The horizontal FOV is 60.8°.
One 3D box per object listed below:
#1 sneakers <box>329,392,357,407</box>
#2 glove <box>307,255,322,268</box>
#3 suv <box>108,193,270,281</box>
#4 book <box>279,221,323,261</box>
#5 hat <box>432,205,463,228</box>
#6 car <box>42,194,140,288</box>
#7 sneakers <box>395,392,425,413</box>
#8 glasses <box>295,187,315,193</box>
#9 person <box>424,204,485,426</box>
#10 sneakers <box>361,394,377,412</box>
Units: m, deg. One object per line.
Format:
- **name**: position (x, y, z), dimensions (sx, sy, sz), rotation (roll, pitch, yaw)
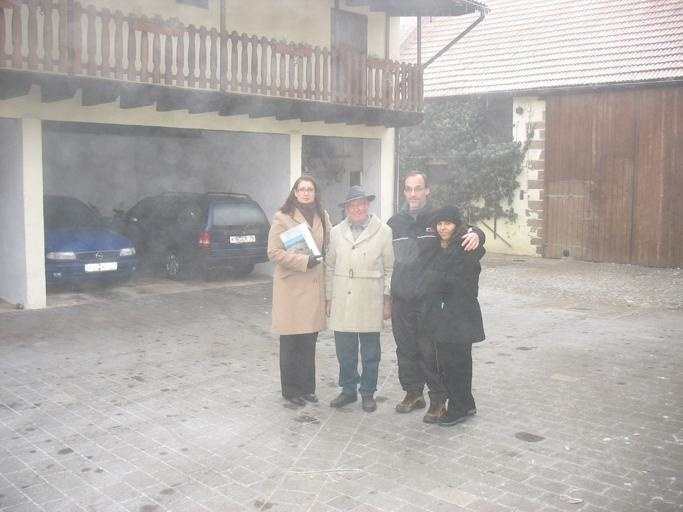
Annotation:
- **sneakers**: position (0.015, 1.421, 5.818), dimensions (0.106, 0.133, 0.320), rotation (-5, -5, 43)
- **glove**: position (-0.259, 0.064, 5.686), dimensions (0.134, 0.139, 0.193), rotation (0, 7, 2)
- **suv**: position (-3.673, -0.585, 13.637), dimensions (3.631, 1.472, 1.810), rotation (12, 14, 43)
- **book**: position (-0.397, -0.135, 5.658), dimensions (0.383, 0.339, 0.145), rotation (-1, 7, -8)
- **hat**: position (0.954, -0.366, 5.210), dimensions (0.193, 0.168, 0.200), rotation (21, -4, 11)
- **car**: position (-5.694, -0.340, 12.338), dimensions (1.287, 1.099, 3.099), rotation (-5, 7, -38)
- **sneakers**: position (0.672, 1.422, 5.663), dimensions (0.308, 0.154, 0.134), rotation (3, -8, -41)
- **glasses**: position (-0.360, -0.639, 5.774), dimensions (0.145, 0.052, 0.044), rotation (1, 7, 7)
- **person**: position (1.037, 0.552, 5.282), dimensions (0.505, 1.991, 0.399), rotation (1, 7, 9)
- **sneakers**: position (0.259, 1.442, 5.686), dimensions (0.119, 0.106, 0.262), rotation (-1, -7, -5)
